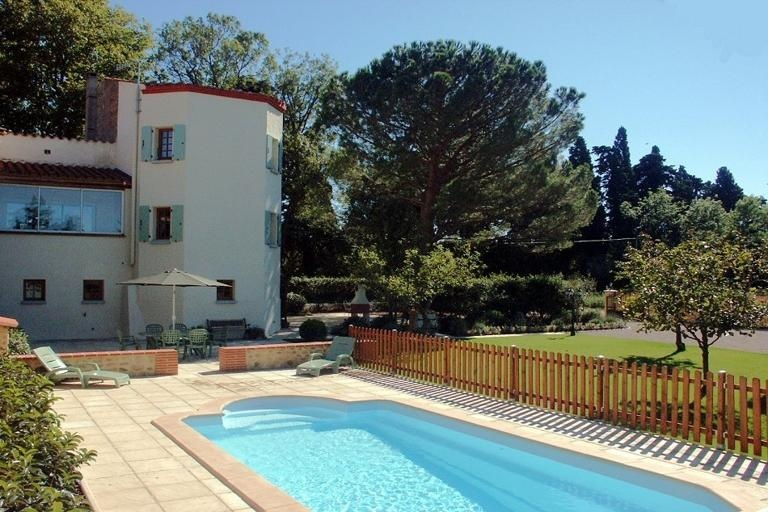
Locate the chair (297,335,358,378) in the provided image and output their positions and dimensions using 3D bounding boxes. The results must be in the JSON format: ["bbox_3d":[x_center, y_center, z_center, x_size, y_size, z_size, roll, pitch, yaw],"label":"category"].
[{"bbox_3d":[-2.260,3.990,24.734,1.274,1.221,1.958,-2,-3,33],"label":"chair"}]
